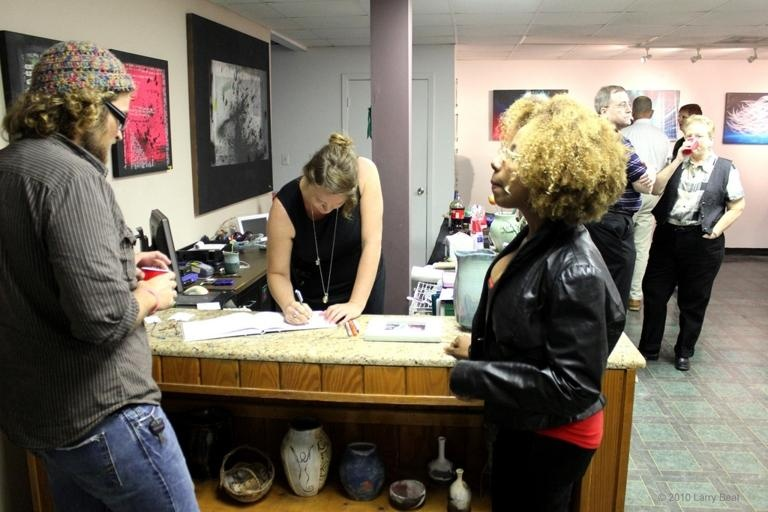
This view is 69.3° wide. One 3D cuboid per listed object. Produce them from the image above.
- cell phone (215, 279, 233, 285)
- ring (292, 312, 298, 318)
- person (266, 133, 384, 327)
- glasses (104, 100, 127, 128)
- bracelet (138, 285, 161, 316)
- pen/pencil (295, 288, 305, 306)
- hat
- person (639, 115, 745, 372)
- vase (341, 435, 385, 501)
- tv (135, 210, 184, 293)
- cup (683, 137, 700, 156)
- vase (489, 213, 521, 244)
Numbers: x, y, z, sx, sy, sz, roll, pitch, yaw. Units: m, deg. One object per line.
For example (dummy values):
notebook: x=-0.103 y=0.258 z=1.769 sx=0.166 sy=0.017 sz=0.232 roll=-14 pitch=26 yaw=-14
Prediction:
cell phone: x=-1.227 y=0.208 z=4.244 sx=0.072 sy=0.017 sz=0.071 roll=2 pitch=10 yaw=4
ring: x=-0.421 y=0.279 z=2.586 sx=0.027 sy=0.012 sz=0.034 roll=0 pitch=6 yaw=-5
person: x=-0.330 y=-0.133 z=2.984 sx=0.620 sy=0.987 sz=0.481 roll=-1 pitch=14 yaw=0
glasses: x=-0.936 y=-0.487 z=1.938 sx=0.019 sy=0.064 sz=0.062 roll=-44 pitch=3 yaw=-3
bracelet: x=-0.844 y=0.164 z=2.009 sx=0.084 sy=0.082 sz=0.062 roll=-23 pitch=-5 yaw=33
pen/pencil: x=-0.450 y=0.224 z=2.943 sx=0.028 sy=0.093 sz=0.025 roll=-6 pitch=14 yaw=16
hat: x=-1.020 y=-0.611 z=1.915 sx=0.240 sy=0.113 sz=0.230 roll=8 pitch=22 yaw=9
person: x=2.698 y=-0.082 z=4.868 sx=0.675 sy=2.184 sz=0.436 roll=-2 pitch=14 yaw=-3
vase: x=-0.088 y=0.978 z=2.589 sx=0.218 sy=0.256 sz=0.222 roll=1 pitch=2 yaw=8
tv: x=-1.316 y=-0.035 z=3.213 sx=0.206 sy=0.399 sz=0.570 roll=-5 pitch=18 yaw=-21
cup: x=2.535 y=-0.885 z=4.638 sx=0.156 sy=0.148 sz=0.119 roll=-17 pitch=5 yaw=-42
vase: x=0.608 y=-0.123 z=2.819 sx=0.132 sy=0.175 sz=0.177 roll=1 pitch=4 yaw=9
